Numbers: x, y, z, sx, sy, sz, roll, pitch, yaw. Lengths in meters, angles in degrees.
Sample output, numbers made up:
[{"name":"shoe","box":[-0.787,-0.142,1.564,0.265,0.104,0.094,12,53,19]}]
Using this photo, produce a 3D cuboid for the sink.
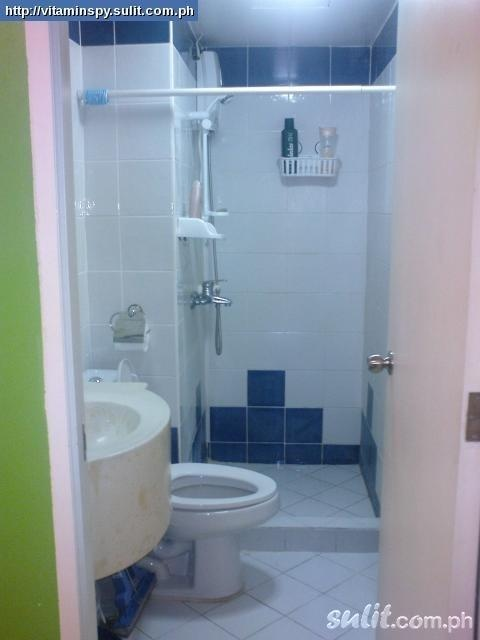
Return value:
[{"name":"sink","box":[-0.290,0.397,1.355,0.213,0.252,0.598,0,14,-7]}]
